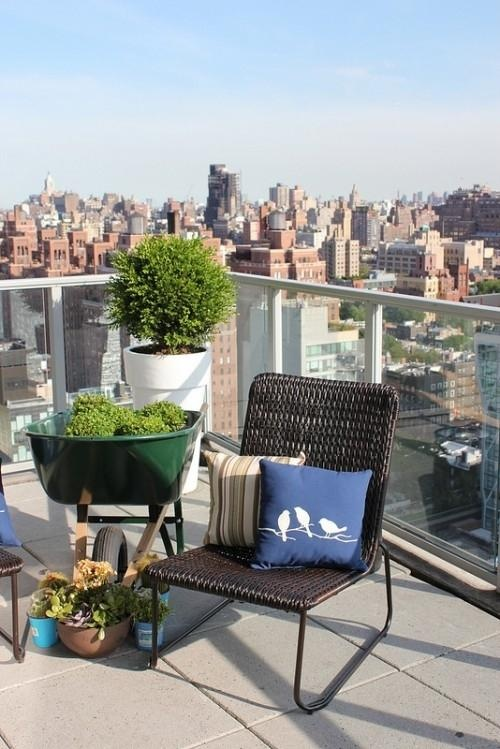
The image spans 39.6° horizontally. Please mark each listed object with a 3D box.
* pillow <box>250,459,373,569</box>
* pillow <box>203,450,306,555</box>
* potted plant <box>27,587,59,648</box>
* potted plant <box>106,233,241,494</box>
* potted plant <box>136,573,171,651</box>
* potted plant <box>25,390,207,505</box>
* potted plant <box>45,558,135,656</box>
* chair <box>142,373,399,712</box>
[{"bbox_3d":[0.165,0.379,1.822,0.236,0.236,0.084,1,-28,8],"label":"pillow"},{"bbox_3d":[-0.002,0.380,2.015,0.297,0.288,0.108,2,-3,31],"label":"pillow"},{"bbox_3d":[-0.574,0.713,1.938,0.063,0.084,0.061,-6,-1,28],"label":"potted plant"},{"bbox_3d":[-0.377,-0.078,3.302,0.645,1.080,0.585,3,0,42],"label":"potted plant"},{"bbox_3d":[-0.255,0.689,1.935,0.099,0.161,0.102,-1,-17,7],"label":"potted plant"},{"bbox_3d":[-0.398,0.231,2.157,0.456,0.246,0.658,-1,3,-1],"label":"potted plant"},{"bbox_3d":[-0.424,0.623,1.833,0.219,0.206,0.245,0,5,-9],"label":"potted plant"},{"bbox_3d":[0.070,0.439,1.926,0.581,0.808,0.618,7,6,36],"label":"chair"}]
